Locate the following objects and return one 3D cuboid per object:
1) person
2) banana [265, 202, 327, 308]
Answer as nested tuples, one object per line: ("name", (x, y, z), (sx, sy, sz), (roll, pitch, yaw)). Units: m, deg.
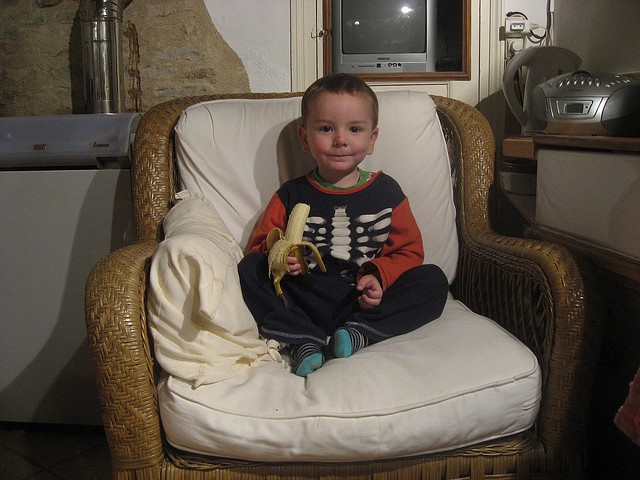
("person", (0.041, -0.080, 1.516), (0.545, 0.836, 0.577), (3, 4, 35))
("banana", (-0.055, 0.048, 1.504), (0.148, 0.307, 0.106), (14, -17, 13))
